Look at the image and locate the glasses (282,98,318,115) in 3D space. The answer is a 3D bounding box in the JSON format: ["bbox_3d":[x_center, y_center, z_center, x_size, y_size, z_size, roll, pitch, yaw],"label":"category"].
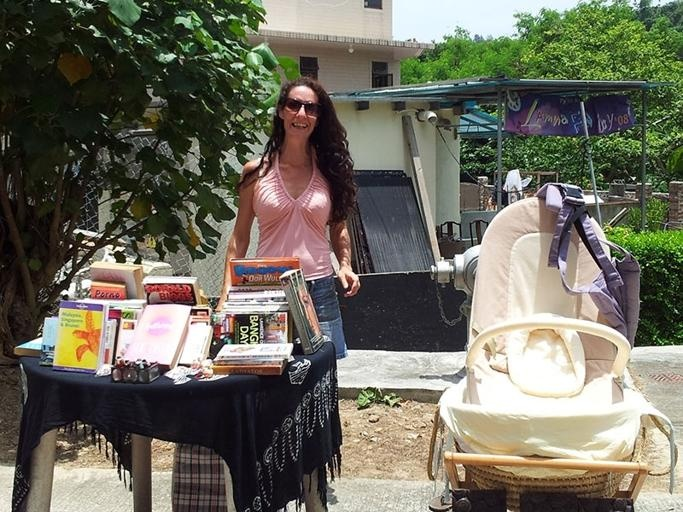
[{"bbox_3d":[-0.229,-0.870,3.769,0.199,0.096,0.100,-2,0,-10],"label":"glasses"}]

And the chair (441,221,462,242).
[{"bbox_3d":[2.660,-0.608,15.891,0.460,0.875,0.526,0,-2,7],"label":"chair"}]
